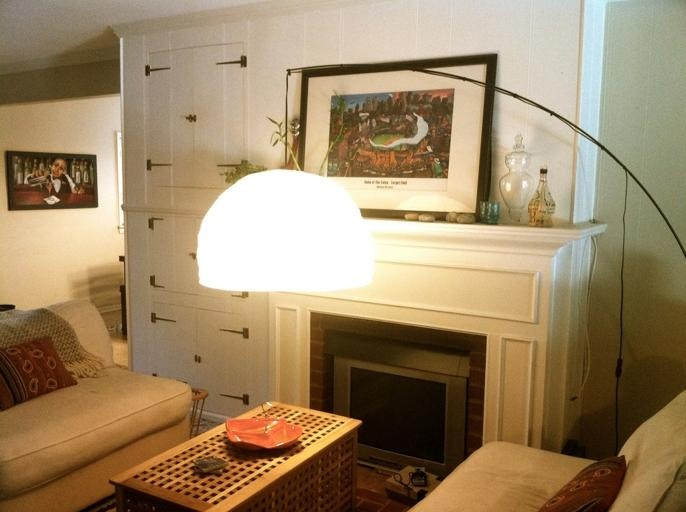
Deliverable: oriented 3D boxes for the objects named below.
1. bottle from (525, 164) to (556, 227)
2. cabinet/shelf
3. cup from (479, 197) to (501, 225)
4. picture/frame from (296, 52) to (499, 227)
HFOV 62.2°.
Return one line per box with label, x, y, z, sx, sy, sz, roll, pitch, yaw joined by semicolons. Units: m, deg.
bottle;1.150;-0.343;3.285;0.206;0.351;0.214;-2;14;0
cabinet/shelf;-1.072;-0.082;4.614;1.156;3.252;0.409;1;4;22
cup;0.872;-0.268;3.394;0.133;0.164;0.134;2;6;0
picture/frame;0.405;-0.721;3.522;1.143;0.896;0.050;5;7;25
